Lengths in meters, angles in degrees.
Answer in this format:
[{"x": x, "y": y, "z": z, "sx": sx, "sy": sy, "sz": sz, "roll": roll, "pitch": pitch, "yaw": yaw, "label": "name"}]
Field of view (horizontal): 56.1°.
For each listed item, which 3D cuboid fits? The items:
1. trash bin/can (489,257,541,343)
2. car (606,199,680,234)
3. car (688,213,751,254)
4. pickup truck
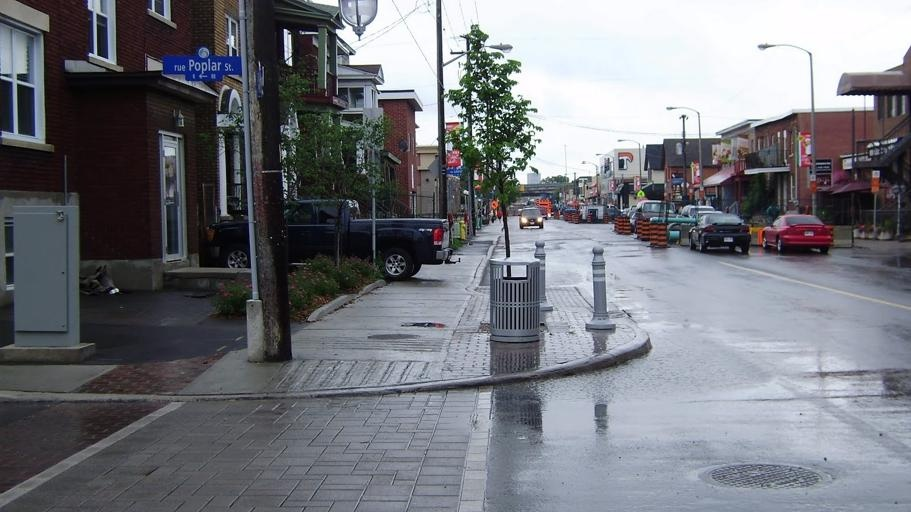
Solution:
[{"x": 1.239, "y": 0.901, "z": 18.280, "sx": 1.163, "sy": 1.715, "sz": 1.001, "roll": 0, "pitch": 2, "yaw": 2, "label": "trash bin/can"}, {"x": 13.372, "y": -2.571, "z": 59.671, "sx": 2.924, "sy": 2.307, "sz": 4.831, "roll": -1, "pitch": 10, "yaw": -4, "label": "car"}, {"x": 12.347, "y": -0.946, "z": 39.829, "sx": 2.116, "sy": 1.877, "sz": 2.851, "roll": 0, "pitch": 14, "yaw": 4, "label": "car"}, {"x": -3.776, "y": -0.559, "z": 26.883, "sx": 6.747, "sy": 2.124, "sz": 2.966, "roll": 1, "pitch": 0, "yaw": -1, "label": "pickup truck"}]
